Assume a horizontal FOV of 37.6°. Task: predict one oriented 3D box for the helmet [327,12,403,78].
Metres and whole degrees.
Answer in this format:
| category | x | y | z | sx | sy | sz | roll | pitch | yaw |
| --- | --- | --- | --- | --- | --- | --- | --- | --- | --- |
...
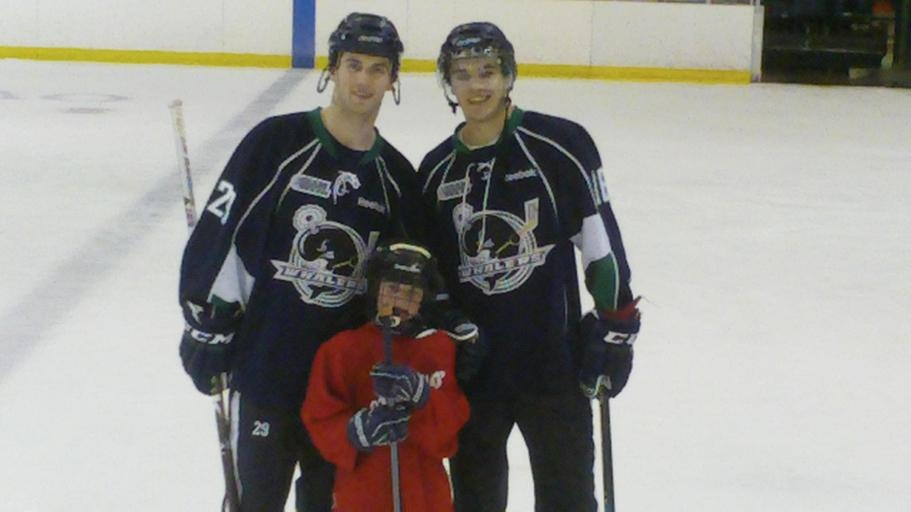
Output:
| category | x | y | z | sx | sy | sz | roll | pitch | yaw |
| --- | --- | --- | --- | --- | --- | --- | --- | --- | --- |
| helmet | -0.860 | -2.062 | 12.937 | 0.483 | 0.647 | 0.518 | 7 | 10 | -8 |
